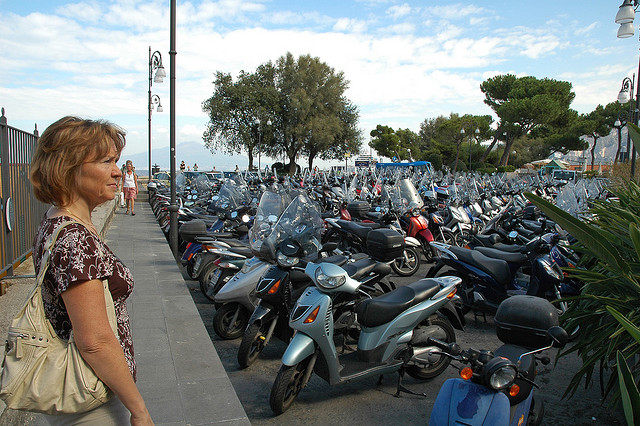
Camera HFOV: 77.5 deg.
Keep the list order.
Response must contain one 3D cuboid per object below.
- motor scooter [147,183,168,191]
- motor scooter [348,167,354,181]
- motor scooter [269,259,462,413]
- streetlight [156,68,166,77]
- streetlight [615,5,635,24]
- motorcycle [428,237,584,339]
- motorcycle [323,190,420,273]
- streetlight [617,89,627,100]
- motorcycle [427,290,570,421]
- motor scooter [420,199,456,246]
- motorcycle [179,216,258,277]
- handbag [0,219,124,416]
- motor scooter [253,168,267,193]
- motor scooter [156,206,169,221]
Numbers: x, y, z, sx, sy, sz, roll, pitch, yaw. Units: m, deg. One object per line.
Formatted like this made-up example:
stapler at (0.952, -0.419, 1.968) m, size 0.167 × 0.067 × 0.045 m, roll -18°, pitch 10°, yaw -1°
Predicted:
motor scooter at (-8.578, -1.407, 21.161) m, size 1.007 × 0.602 × 1.389 m, roll -2°, pitch 5°, yaw -36°
motor scooter at (1.551, -2.018, 20.345) m, size 0.453 × 0.595 × 0.955 m, roll -2°, pitch 5°, yaw 12°
motor scooter at (0.477, 1.197, 4.091) m, size 2.003 × 1.367 × 0.487 m, roll -1°, pitch 8°, yaw -13°
streetlight at (-6.479, -5.820, 16.499) m, size 0.489 × 0.380 × 0.268 m, roll 5°, pitch 9°, yaw 32°
streetlight at (8.335, -5.471, 10.923) m, size 0.358 × 0.477 × 0.513 m, roll 7°, pitch 10°, yaw 41°
motorcycle at (2.760, 0.983, 6.017) m, size 2.220 × 1.408 × 0.842 m, roll 4°, pitch 3°, yaw 17°
motorcycle at (1.128, 0.445, 8.511) m, size 2.036 × 1.568 × 1.342 m, roll 7°, pitch 5°, yaw 8°
streetlight at (14.838, -5.831, 19.627) m, size 0.348 × 0.444 × 0.578 m, roll 6°, pitch 9°, yaw 35°
motorcycle at (1.455, 1.120, 3.365) m, size 0.734 × 0.965 × 1.388 m, roll 10°, pitch 2°, yaw 36°
motor scooter at (2.948, 0.258, 10.179) m, size 0.680 × 0.895 × 1.323 m, roll -10°, pitch 12°, yaw -17°
motorcycle at (-1.603, 0.509, 7.356) m, size 1.677 × 1.213 × 1.062 m, roll -5°, pitch 9°, yaw -26°
handbag at (-1.122, 0.475, 1.749) m, size 0.484 × 0.885 × 0.289 m, roll -2°, pitch 8°, yaw -16°
motor scooter at (-2.432, -1.313, 16.263) m, size 0.760 × 0.910 × 1.573 m, roll -3°, pitch 7°, yaw -2°
motor scooter at (-5.093, 0.023, 13.008) m, size 0.282 × 0.467 × 0.234 m, roll 23°, pitch 11°, yaw -17°
